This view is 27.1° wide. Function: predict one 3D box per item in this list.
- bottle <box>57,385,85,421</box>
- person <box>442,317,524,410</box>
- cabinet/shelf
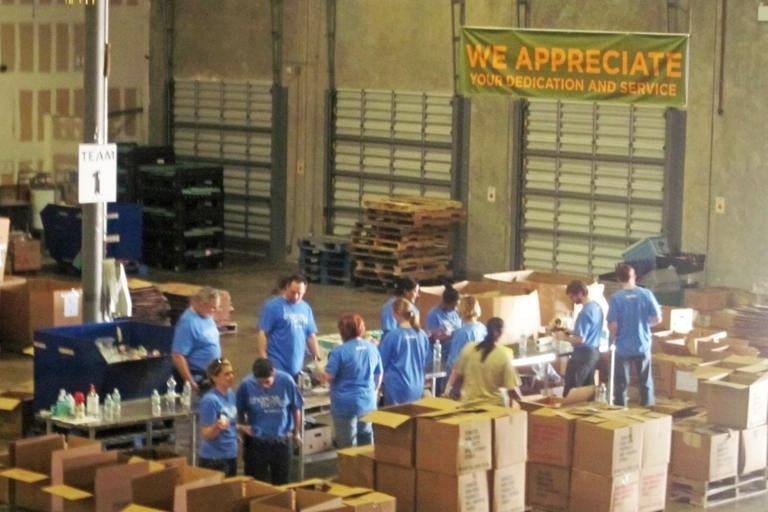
[{"bbox_3d":[-4.851,2.293,24.457,0.447,0.496,0.396,0,-1,39],"label":"bottle"},{"bbox_3d":[1.552,1.633,24.406,1.077,1.306,0.469,0,3,5],"label":"person"},{"bbox_3d":[-4.747,-0.765,36.602,1.855,2.182,1.561,4,6,42],"label":"cabinet/shelf"}]
